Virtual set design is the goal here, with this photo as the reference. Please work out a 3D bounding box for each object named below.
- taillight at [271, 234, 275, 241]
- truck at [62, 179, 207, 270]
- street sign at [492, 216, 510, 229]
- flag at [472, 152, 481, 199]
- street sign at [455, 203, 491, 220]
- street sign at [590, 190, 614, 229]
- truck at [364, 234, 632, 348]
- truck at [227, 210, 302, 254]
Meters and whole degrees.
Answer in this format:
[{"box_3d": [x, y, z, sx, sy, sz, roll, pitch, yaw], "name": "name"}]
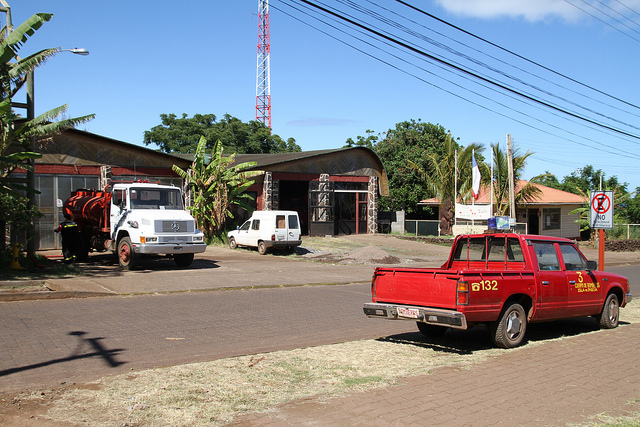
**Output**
[{"box_3d": [-2.544, 1.310, 26.195, 0.297, 0.553, 0.058, 3, 5, 43], "name": "taillight"}, {"box_3d": [-8.325, 0.456, 21.131, 2.980, 2.901, 6.818, 1, -2, -37], "name": "truck"}, {"box_3d": [11.367, 0.602, 30.293, 0.753, 0.657, 0.277, 0, -8, -21], "name": "street sign"}, {"box_3d": [11.865, -2.844, 36.626, 0.475, 3.211, 1.086, 1, 2, 15], "name": "flag"}, {"box_3d": [11.679, -0.104, 36.819, 2.552, 1.164, 0.853, 1, 2, 25], "name": "street sign"}, {"box_3d": [9.227, -0.101, 15.740, 0.410, 1.240, 0.851, 0, 2, -23], "name": "street sign"}, {"box_3d": [4.068, 1.563, 10.864, 5.374, 1.932, 2.570, -2, 1, -34], "name": "truck"}, {"box_3d": [-3.012, 0.963, 27.589, 2.103, 1.747, 3.589, -1, 5, -41], "name": "truck"}]
